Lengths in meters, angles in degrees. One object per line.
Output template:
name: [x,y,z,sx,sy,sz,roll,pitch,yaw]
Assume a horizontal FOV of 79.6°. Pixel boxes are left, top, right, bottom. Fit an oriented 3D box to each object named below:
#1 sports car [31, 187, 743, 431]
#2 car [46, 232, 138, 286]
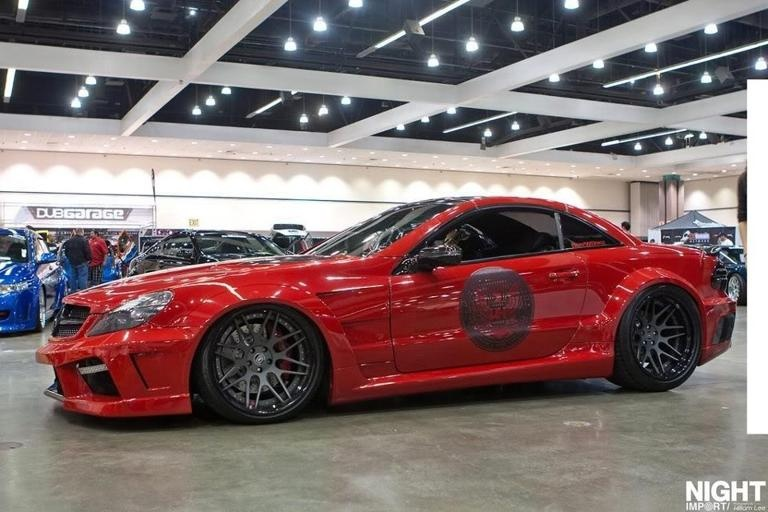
sports car: [0.272,0.504,4.163,5.091,1.403,2.191,0,-3,-17]
car: [-8.438,0.232,13.997,3.087,1.185,1.865,2,4,-10]
